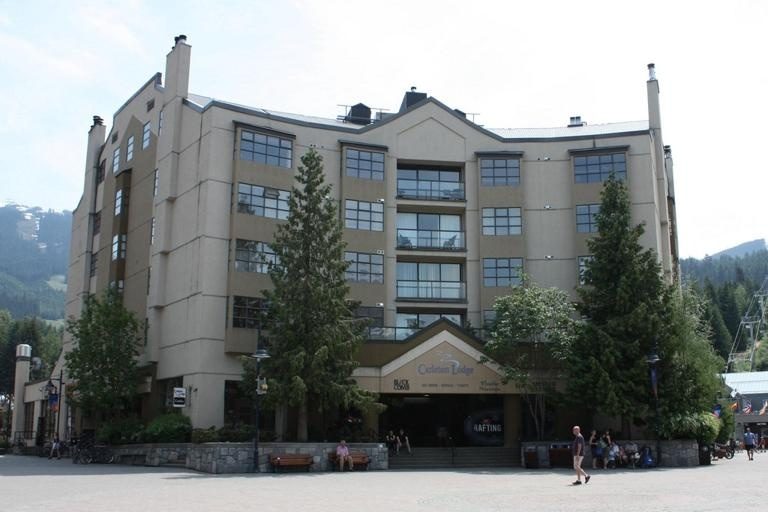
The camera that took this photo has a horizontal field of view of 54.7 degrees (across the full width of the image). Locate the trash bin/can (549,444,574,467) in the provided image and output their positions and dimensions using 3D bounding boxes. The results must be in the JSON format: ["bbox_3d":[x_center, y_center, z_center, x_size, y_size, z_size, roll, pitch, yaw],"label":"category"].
[{"bbox_3d":[10.870,12.177,45.453,1.695,1.773,1.248,-1,-2,18],"label":"trash bin/can"}]
